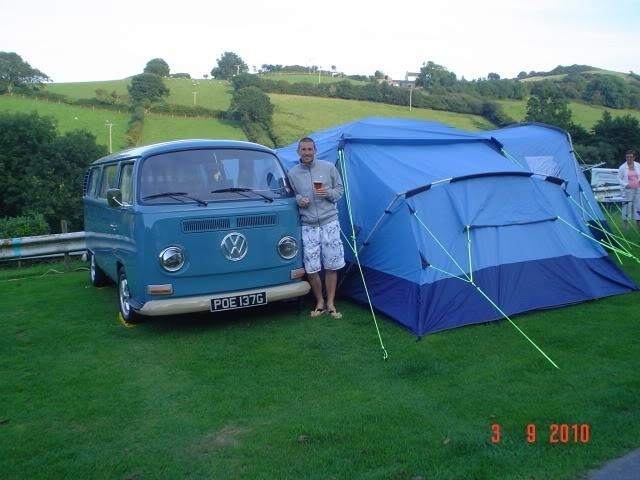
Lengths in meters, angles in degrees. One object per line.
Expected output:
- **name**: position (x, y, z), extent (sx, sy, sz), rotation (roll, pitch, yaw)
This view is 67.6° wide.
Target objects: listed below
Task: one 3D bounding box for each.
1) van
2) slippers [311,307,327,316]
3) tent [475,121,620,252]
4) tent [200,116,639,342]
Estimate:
- **van**: position (-2.323, -0.257, 7.600), extent (1.974, 1.766, 3.561), rotation (-7, 6, -30)
- **slippers**: position (-0.036, 1.095, 7.248), extent (0.058, 0.121, 0.164), rotation (15, 12, 37)
- **tent**: position (4.695, -1.048, 10.527), extent (2.791, 1.191, 2.823), rotation (1, 13, 13)
- **tent**: position (1.529, -0.194, 8.235), extent (3.468, 1.586, 4.327), rotation (-12, 21, -26)
